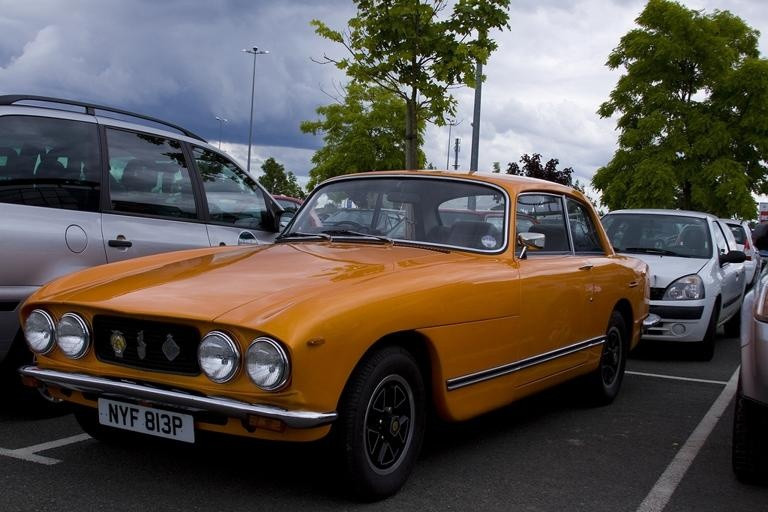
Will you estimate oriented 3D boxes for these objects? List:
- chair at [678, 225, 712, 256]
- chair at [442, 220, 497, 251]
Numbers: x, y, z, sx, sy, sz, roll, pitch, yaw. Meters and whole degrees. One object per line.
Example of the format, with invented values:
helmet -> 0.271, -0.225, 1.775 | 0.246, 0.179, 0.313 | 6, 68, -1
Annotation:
chair -> 5.068, -0.244, 8.586 | 0.419, 0.527, 0.575 | 1, 36, 43
chair -> 0.718, -0.172, 4.235 | 0.288, 0.121, 0.266 | 12, 42, 22
